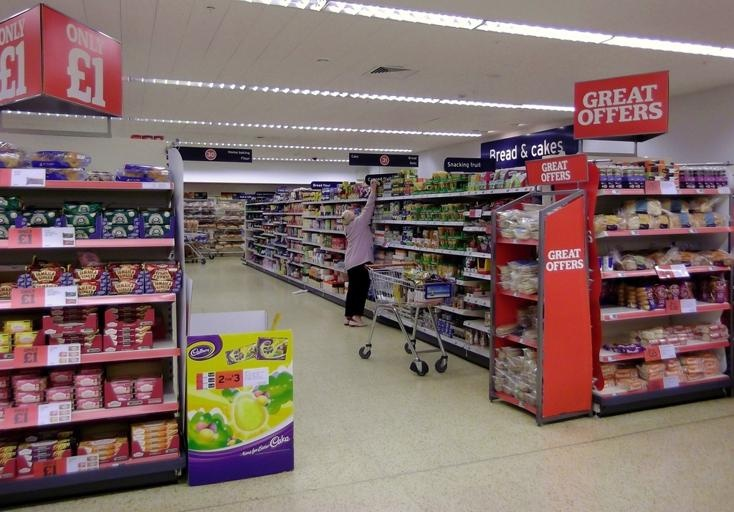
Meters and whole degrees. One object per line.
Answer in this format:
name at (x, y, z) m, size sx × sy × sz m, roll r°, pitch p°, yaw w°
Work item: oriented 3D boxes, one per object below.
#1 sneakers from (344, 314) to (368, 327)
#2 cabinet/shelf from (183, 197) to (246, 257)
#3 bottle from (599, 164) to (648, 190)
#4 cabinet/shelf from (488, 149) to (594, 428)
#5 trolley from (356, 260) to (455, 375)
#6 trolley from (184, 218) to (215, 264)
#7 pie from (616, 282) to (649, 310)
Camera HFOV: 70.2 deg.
sneakers at (-0.150, 1.035, 8.429) m, size 0.301 × 0.131 × 0.159 m, roll -5°, pitch 7°, yaw -41°
cabinet/shelf at (-6.411, -1.107, 21.925) m, size 2.532 × 2.444 × 0.806 m, roll 0°, pitch -16°, yaw -11°
bottle at (2.480, -0.773, 5.040) m, size 0.541 × 0.235 × 0.205 m, roll -6°, pitch 11°, yaw -31°
cabinet/shelf at (1.701, 0.254, 5.273) m, size 0.628 × 2.471 × 0.894 m, roll 0°, pitch 0°, yaw -21°
trolley at (0.482, 0.739, 6.441) m, size 0.784 × 1.256 × 1.103 m, roll 1°, pitch 2°, yaw -34°
trolley at (-6.170, -0.567, 19.109) m, size 1.038 × 1.763 × 4.299 m, roll -3°, pitch 10°, yaw -17°
pie at (2.732, 0.417, 5.342) m, size 0.112 × 0.222 × 0.335 m, roll -5°, pitch 11°, yaw -28°
